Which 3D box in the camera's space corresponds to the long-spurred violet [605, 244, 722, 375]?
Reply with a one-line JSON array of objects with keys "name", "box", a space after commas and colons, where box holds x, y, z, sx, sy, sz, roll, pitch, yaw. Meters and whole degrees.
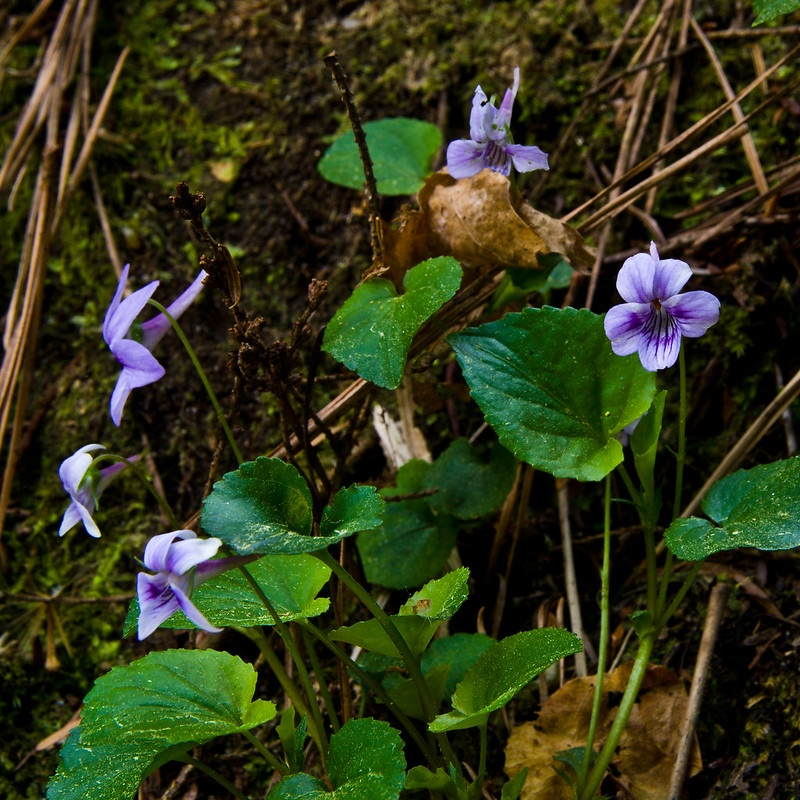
[{"name": "long-spurred violet", "box": [0.562, -0.218, 2.070, 0.261, 0.304, 0.106, 21, 73, 49]}]

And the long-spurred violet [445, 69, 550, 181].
[{"name": "long-spurred violet", "box": [0.230, -0.660, 2.316, 0.244, 0.271, 0.191, -7, 41, 8]}]

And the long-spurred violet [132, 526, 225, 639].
[{"name": "long-spurred violet", "box": [-0.460, 0.376, 1.883, 0.155, 0.238, 0.201, 10, 88, 30]}]
